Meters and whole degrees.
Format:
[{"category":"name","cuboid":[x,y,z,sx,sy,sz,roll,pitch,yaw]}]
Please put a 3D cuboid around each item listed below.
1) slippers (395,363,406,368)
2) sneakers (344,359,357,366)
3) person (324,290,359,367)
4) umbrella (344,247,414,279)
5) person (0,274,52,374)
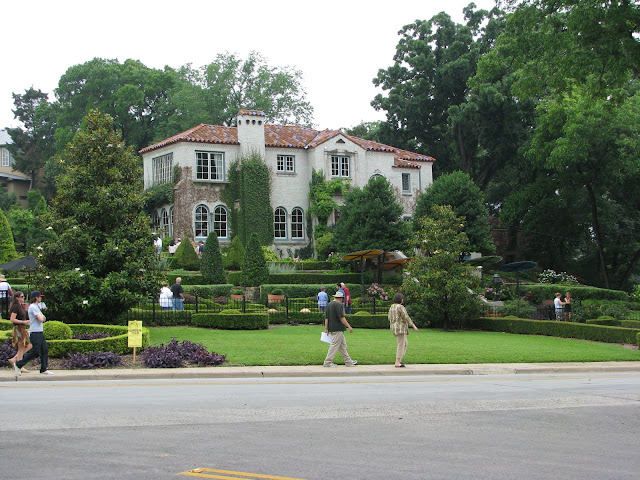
[{"category":"slippers","cuboid":[2.681,4.107,31.169,0.336,0.128,0.117,0,3,7]},{"category":"sneakers","cuboid":[1.025,4.031,31.384,0.409,0.196,0.150,-6,7,-36]},{"category":"person","cuboid":[0.636,2.899,31.566,1.027,2.521,1.434,-1,-3,4]},{"category":"umbrella","cuboid":[3.359,1.001,54.835,2.354,0.973,2.161,12,-9,-43]},{"category":"person","cuboid":[-9.176,2.832,29.526,1.383,2.559,1.095,-1,-3,12]}]
